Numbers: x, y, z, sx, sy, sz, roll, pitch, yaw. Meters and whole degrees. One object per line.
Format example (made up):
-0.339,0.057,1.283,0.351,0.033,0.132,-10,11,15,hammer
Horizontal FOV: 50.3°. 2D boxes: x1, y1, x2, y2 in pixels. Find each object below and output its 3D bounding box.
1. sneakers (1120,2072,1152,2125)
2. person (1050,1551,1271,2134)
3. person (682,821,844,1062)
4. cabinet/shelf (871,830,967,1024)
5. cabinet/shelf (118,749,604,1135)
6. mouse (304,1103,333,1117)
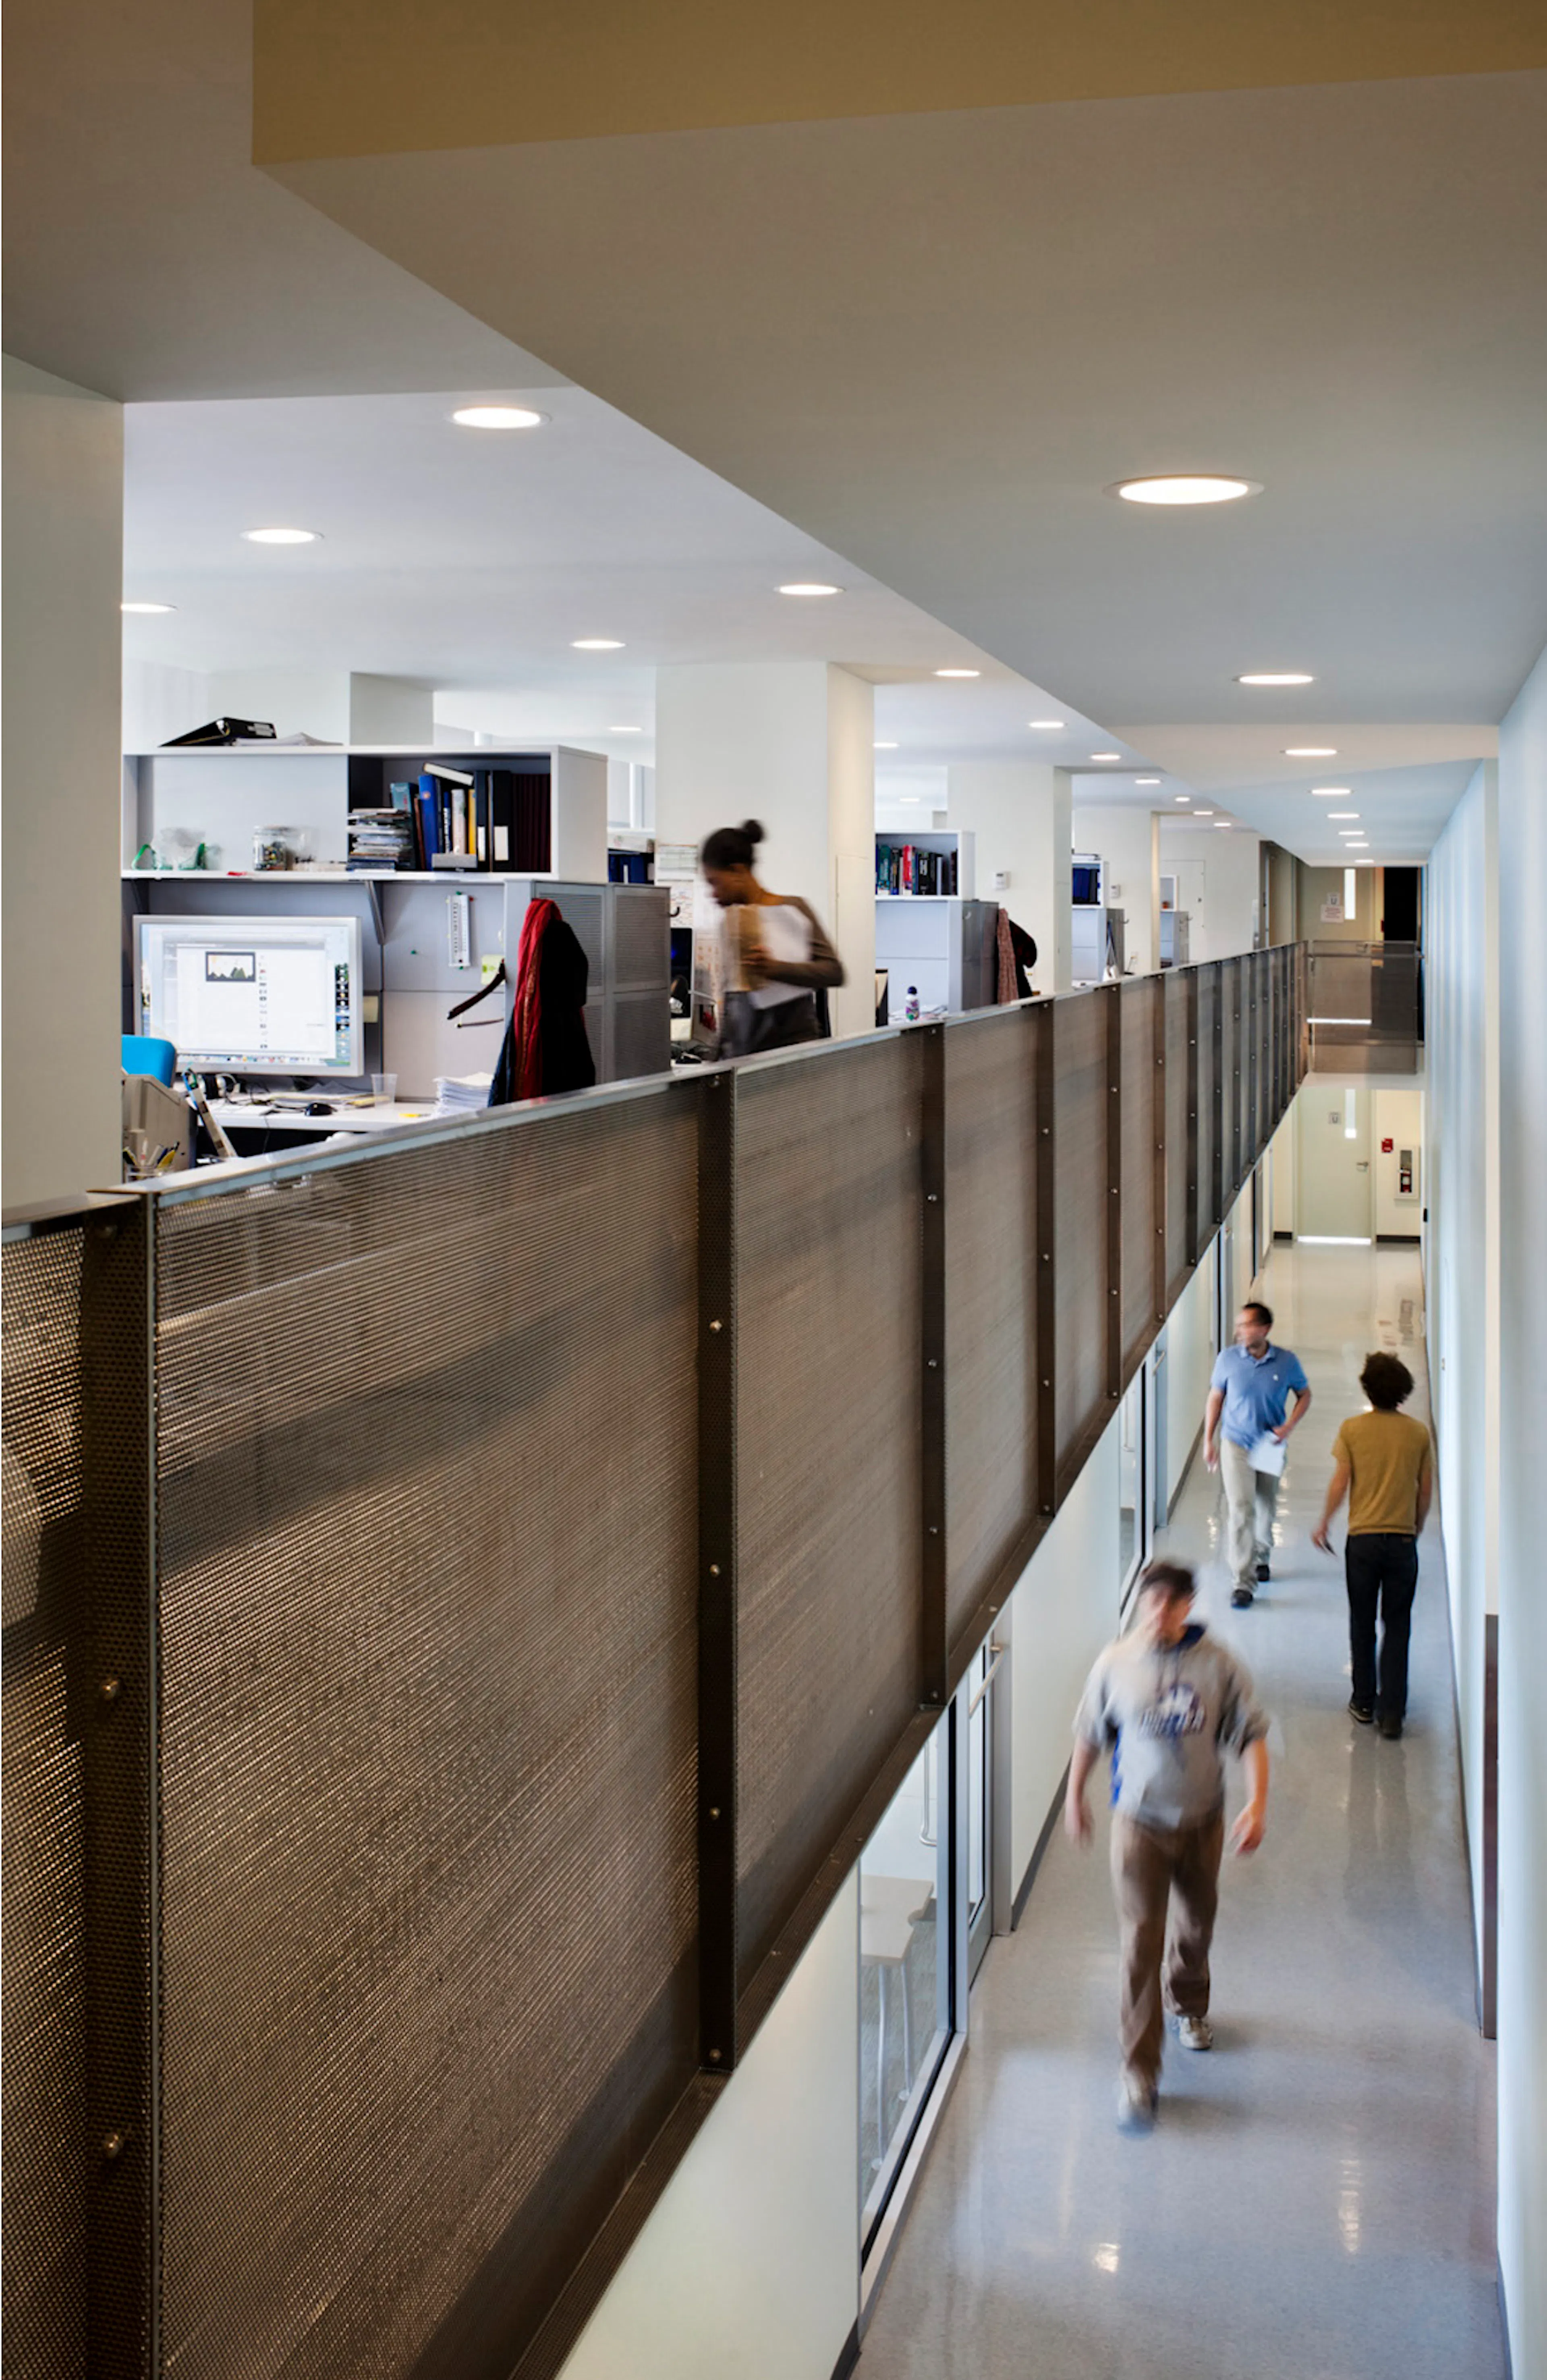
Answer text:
1.332,3.338,6.052,0.061,0.155,0.200,2,11,8,sneakers
1.424,2.292,5.940,0.647,2.241,1.154,-1,3,22,person
-0.045,-1.398,8.849,0.748,1.258,0.722,-2,3,1,person
1.046,-1.917,11.719,0.676,1.425,1.583,-2,3,4,cabinet/shelf
-2.068,-1.244,7.850,1.795,1.942,0.651,1,-9,-22,cabinet/shelf
-1.981,-0.351,7.086,0.089,0.052,0.468,-3,4,-16,mouse
